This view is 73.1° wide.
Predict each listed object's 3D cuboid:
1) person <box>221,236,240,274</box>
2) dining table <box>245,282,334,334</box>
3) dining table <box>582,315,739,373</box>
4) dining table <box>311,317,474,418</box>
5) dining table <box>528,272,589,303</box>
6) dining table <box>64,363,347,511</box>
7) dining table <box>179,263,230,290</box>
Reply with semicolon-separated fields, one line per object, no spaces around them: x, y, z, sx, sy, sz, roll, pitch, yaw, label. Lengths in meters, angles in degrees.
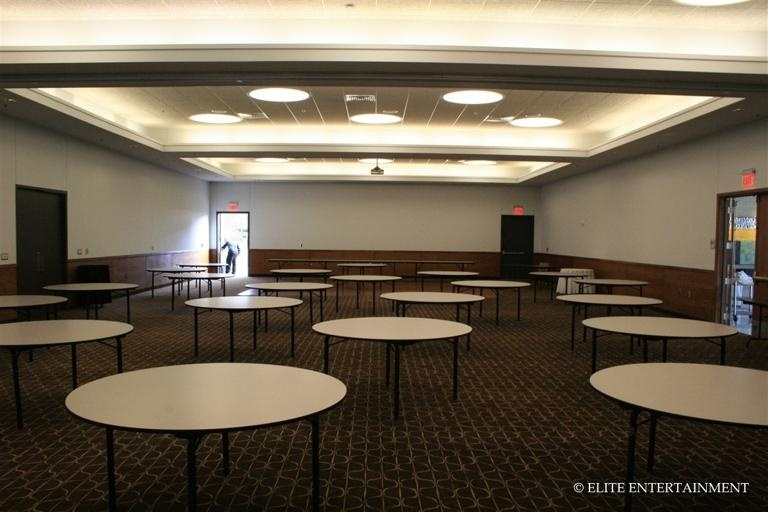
-6.262;-0.014;21.080;0.732;1.398;0.908;0;2;-2;person
-1.828;1.149;10.078;1.611;0.515;1.459;0;4;-8;dining table
3.465;0.939;6.820;1.512;0.440;1.291;0;-4;2;dining table
0.262;1.472;6.513;1.613;0.664;1.578;-5;6;-42;dining table
5.104;0.963;15.418;1.412;0.572;1.279;-1;3;5;dining table
-1.553;1.283;4.549;1.930;0.788;1.828;0;1;-33;dining table
-5.246;0.726;15.130;1.460;0.295;0.958;4;6;29;dining table
